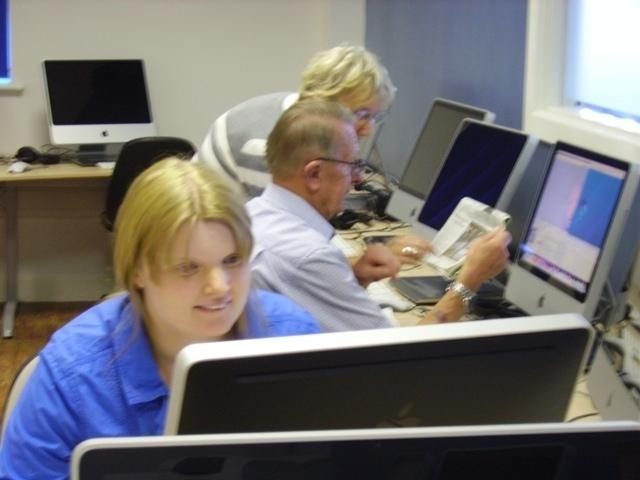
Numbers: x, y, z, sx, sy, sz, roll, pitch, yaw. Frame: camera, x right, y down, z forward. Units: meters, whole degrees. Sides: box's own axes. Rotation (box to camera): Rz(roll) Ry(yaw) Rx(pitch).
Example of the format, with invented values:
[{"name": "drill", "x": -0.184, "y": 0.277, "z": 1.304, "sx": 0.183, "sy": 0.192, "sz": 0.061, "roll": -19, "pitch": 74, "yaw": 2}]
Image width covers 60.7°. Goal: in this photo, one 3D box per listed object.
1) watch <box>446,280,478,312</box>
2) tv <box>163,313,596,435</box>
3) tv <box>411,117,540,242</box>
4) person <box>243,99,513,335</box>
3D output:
[{"name": "watch", "x": 0.409, "y": 0.151, "z": 1.577, "sx": 0.053, "sy": 0.089, "sz": 0.065, "roll": -21, "pitch": 19, "yaw": -26}, {"name": "tv", "x": 0.053, "y": 0.188, "z": 0.717, "sx": 0.467, "sy": 0.142, "sz": 0.340, "roll": 0, "pitch": -20, "yaw": -7}, {"name": "tv", "x": 0.539, "y": -0.197, "z": 1.867, "sx": 0.057, "sy": 0.529, "sz": 0.385, "roll": 24, "pitch": 2, "yaw": -32}, {"name": "person", "x": 0.134, "y": -0.140, "z": 1.696, "sx": 0.790, "sy": 0.654, "sz": 0.515, "roll": -13, "pitch": 28, "yaw": -21}]
